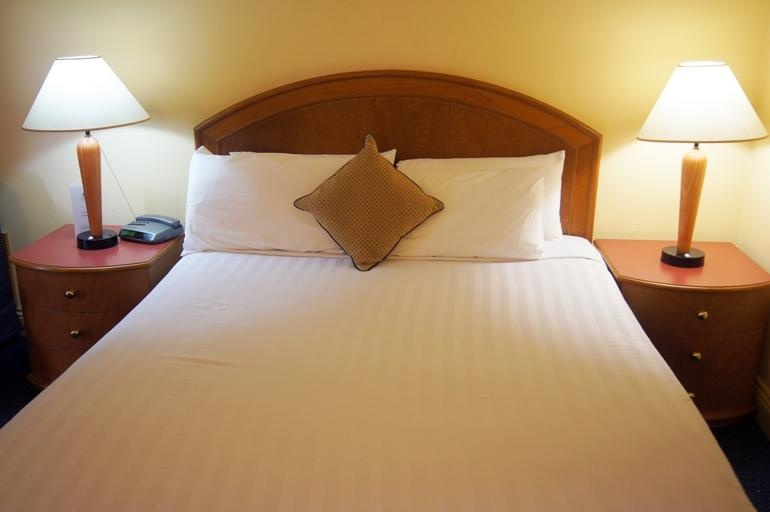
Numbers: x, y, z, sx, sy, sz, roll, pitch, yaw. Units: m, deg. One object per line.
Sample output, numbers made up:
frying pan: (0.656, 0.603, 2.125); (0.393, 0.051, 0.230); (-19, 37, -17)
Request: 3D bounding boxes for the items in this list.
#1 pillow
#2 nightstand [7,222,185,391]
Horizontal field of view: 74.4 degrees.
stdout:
pillow: (-0.076, -0.300, 2.842); (2.146, 0.573, 0.396); (3, 18, 6)
nightstand: (-1.707, 0.325, 3.126); (0.818, 0.807, 0.760); (6, 19, 5)
